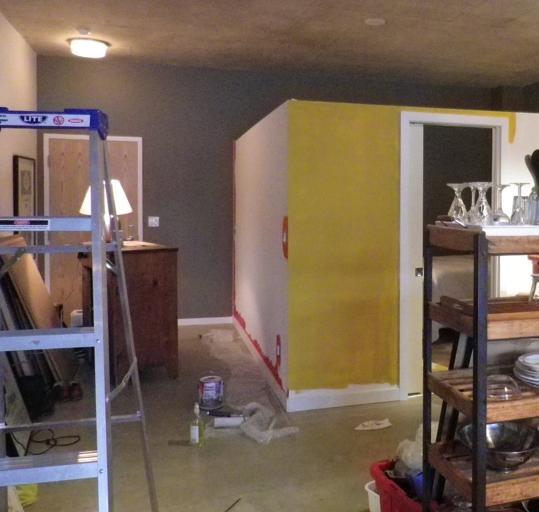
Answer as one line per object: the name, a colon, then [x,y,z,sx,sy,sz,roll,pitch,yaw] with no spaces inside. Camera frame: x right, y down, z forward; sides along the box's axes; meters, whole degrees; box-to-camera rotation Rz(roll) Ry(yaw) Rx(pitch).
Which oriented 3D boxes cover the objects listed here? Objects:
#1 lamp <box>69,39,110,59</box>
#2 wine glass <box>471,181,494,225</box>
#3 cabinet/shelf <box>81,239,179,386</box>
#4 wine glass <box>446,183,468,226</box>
lamp: [-1.654,-1.911,5.221,0.357,0.113,0.268,-3,8,-20]
wine glass: [0.839,-0.215,2.257,0.083,0.154,0.410,2,8,19]
cabinet/shelf: [-0.861,0.362,3.633,0.417,1.035,1.019,0,1,-24]
wine glass: [0.850,-0.256,2.577,0.080,0.155,0.883,2,8,18]
